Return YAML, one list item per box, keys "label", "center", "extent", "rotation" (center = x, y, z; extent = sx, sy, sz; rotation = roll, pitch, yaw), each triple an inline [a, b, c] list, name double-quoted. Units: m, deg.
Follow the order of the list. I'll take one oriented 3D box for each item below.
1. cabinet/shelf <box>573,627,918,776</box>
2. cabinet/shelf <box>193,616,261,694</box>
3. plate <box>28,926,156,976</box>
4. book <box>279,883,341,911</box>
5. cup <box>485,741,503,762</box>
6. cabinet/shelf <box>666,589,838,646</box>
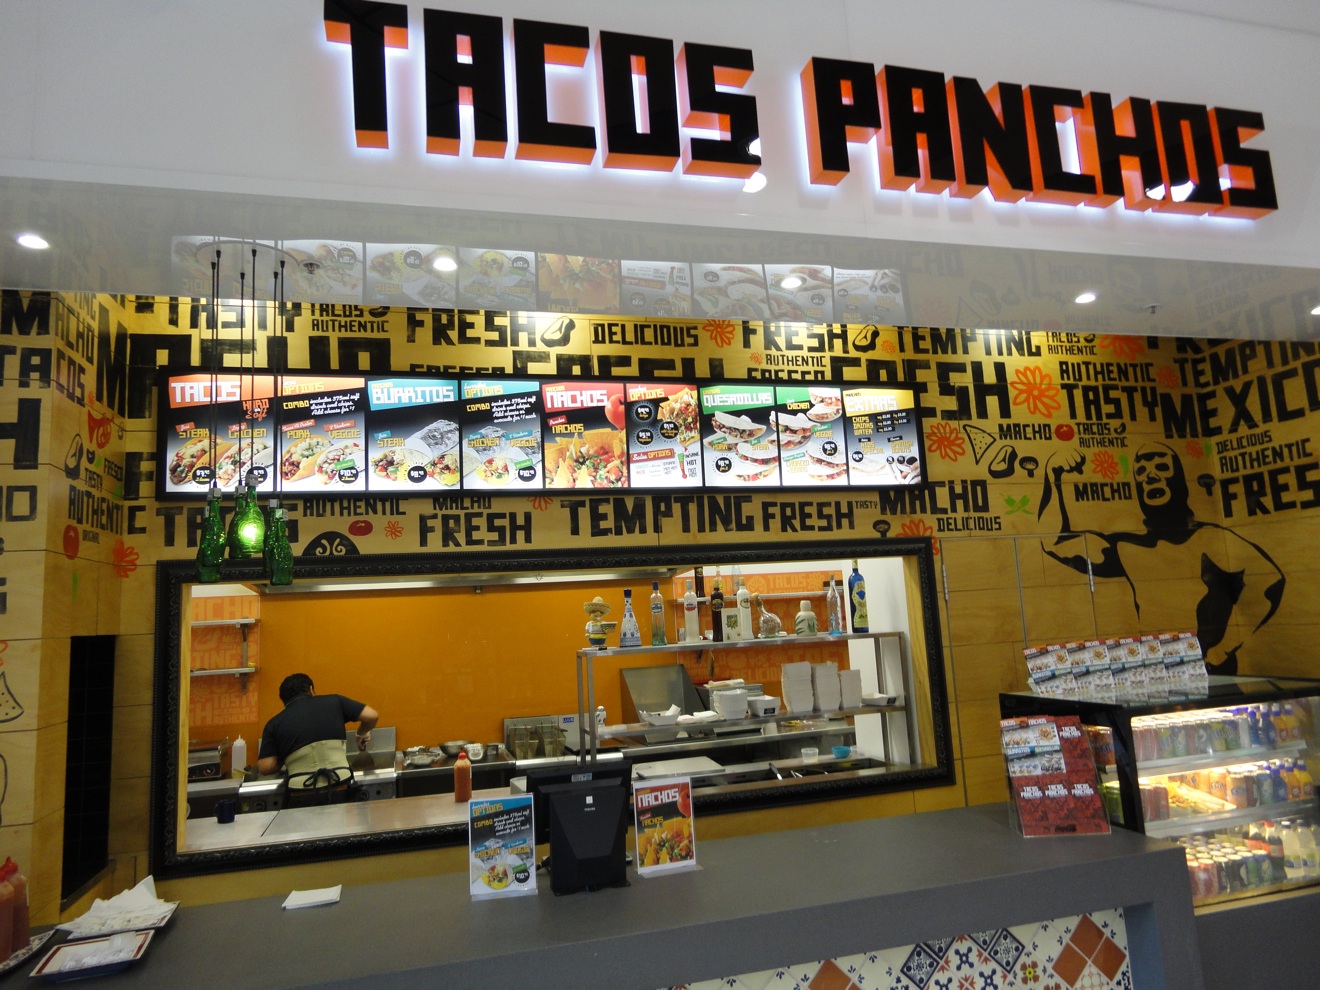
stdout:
- label: "cabinet/shelf"
  center: [0.567, 1.486, 8.016]
  extent: [2.257, 0.914, 3.665]
  rotation: [-4, -5, -2]
- label: "cabinet/shelf"
  center: [-3.497, 1.282, 8.237]
  extent: [0.595, 0.625, 0.194]
  rotation: [1, -6, -26]
- label: "plate"
  center: [-2.052, 1.670, 3.730]
  extent: [0.360, 0.067, 0.253]
  rotation: [-3, -5, -14]
- label: "book"
  center: [-1.415, 1.642, 4.183]
  extent: [0.238, 0.041, 0.199]
  rotation: [-3, -5, -10]
- label: "cup"
  center: [-1.273, 2.030, 8.011]
  extent: [0.088, 0.096, 0.169]
  rotation: [2, -9, -5]
- label: "cabinet/shelf"
  center: [0.515, 0.885, 7.492]
  extent: [1.657, 0.541, 0.488]
  rotation: [1, -7, -16]
